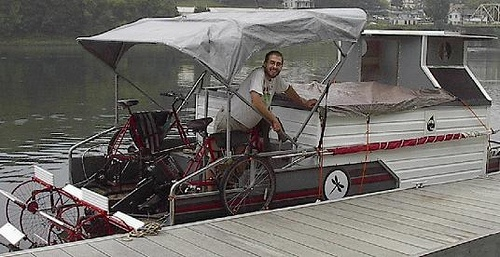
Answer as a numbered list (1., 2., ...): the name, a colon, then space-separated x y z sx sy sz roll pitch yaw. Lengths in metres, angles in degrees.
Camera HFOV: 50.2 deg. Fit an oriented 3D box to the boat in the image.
1. boat: 0.848 -0.103 11.970 9.739 3.553 5.704 -9 14 -33
